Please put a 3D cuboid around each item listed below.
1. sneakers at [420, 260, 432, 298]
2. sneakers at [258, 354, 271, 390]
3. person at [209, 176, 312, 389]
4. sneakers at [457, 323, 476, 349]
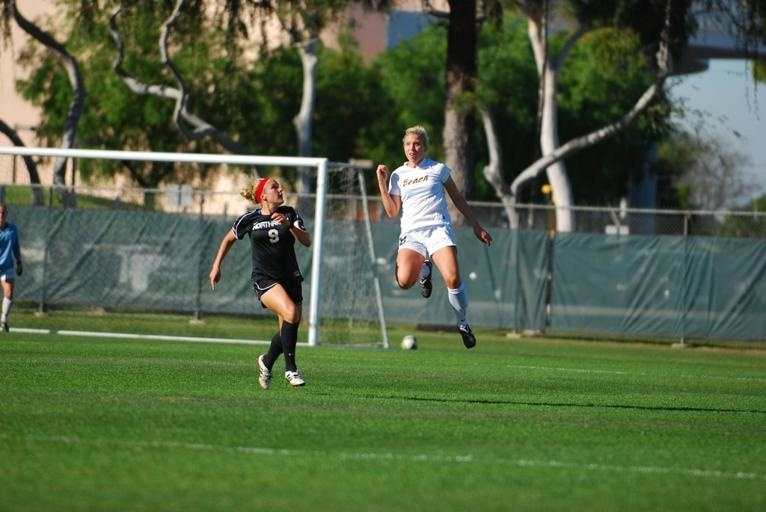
[{"bbox_3d":[0.683,0.391,23.693,0.207,0.605,0.262,2,14,22],"label":"sneakers"},{"bbox_3d":[-1.916,1.828,22.104,0.183,0.525,0.235,-6,1,-36],"label":"sneakers"},{"bbox_3d":[-1.774,0.443,22.119,1.473,3.268,0.852,10,16,28],"label":"person"},{"bbox_3d":[1.434,1.358,23.539,0.204,0.551,0.221,-20,-9,8],"label":"sneakers"}]
